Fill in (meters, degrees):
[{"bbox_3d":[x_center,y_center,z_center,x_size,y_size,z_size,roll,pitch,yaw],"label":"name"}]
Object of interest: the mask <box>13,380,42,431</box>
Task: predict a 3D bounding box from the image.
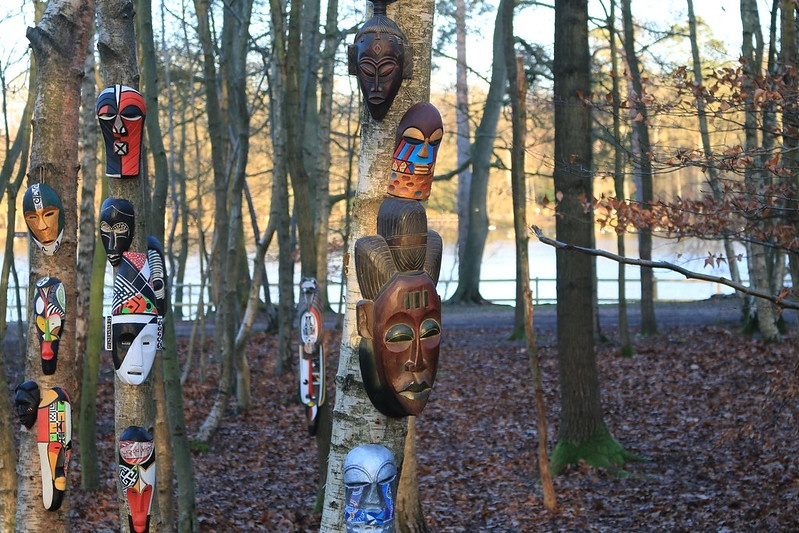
[{"bbox_3d":[-6.623,2.444,35.517,0.437,0.847,0.195,-2,-2,-13],"label":"mask"}]
